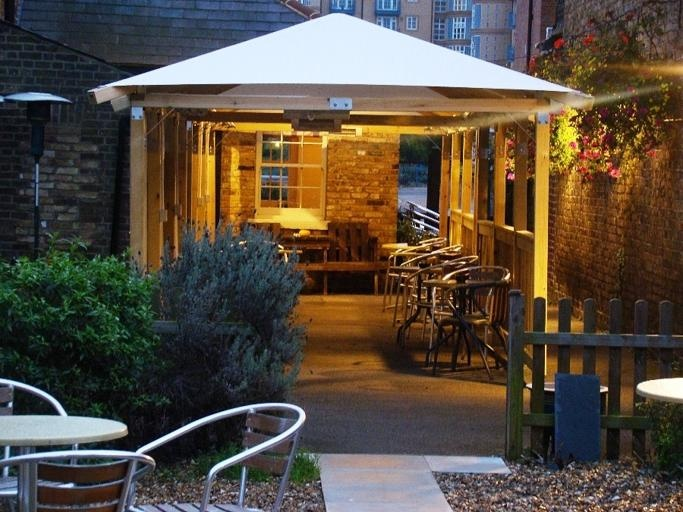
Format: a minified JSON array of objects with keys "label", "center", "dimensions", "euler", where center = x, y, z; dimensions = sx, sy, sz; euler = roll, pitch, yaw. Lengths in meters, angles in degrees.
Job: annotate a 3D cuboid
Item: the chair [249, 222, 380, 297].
[{"label":"chair","center":[-0.149,0.032,15.226],"dimensions":[1.676,1.084,0.739],"euler":[0,8,1]}]
